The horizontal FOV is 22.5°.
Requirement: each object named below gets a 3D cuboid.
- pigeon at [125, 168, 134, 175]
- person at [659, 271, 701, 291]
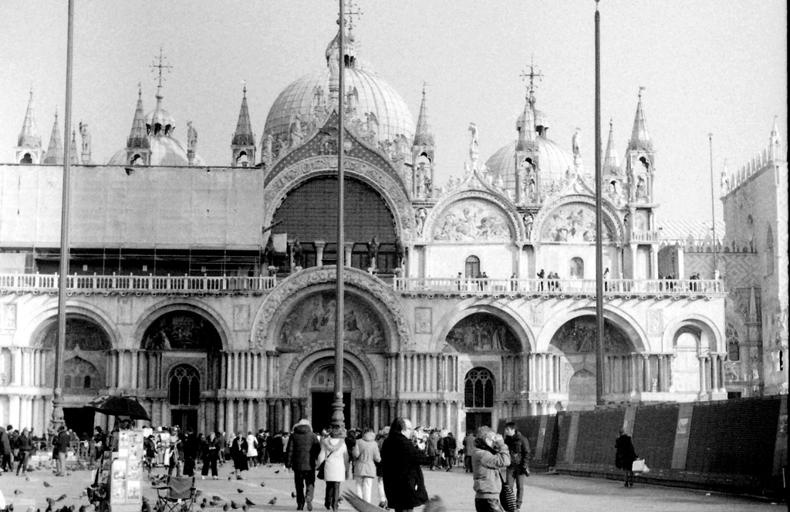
[{"bbox_3d":[-17.009,-5.438,126.556,0.397,0.466,0.449,-2,9,-13],"label":"pigeon"},{"bbox_3d":[17.912,1.563,124.456,2.279,0.861,1.239,0,-5,3],"label":"person"}]
